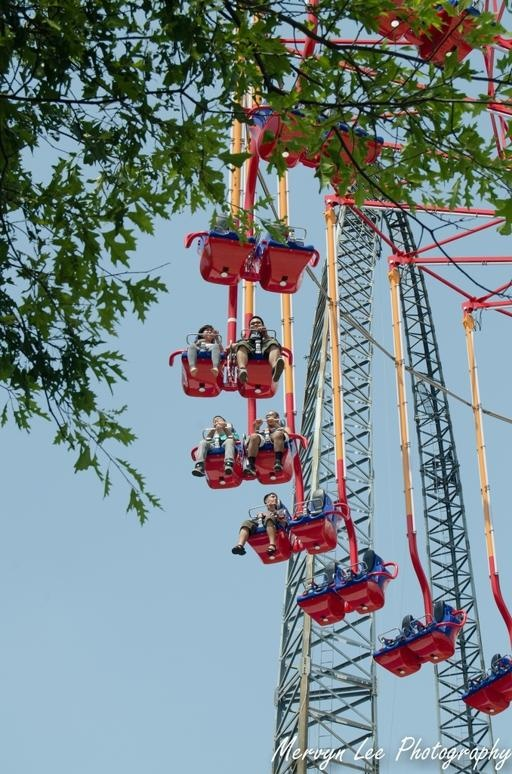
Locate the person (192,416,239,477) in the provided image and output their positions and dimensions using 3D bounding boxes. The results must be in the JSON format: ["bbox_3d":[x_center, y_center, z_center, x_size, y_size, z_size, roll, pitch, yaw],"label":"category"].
[{"bbox_3d":[-0.360,0.655,16.607,0.274,0.793,0.473,-4,-53,7],"label":"person"}]

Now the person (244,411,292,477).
[{"bbox_3d":[0.142,0.548,17.474,0.388,0.911,0.518,-1,-35,4],"label":"person"}]

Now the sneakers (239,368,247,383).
[{"bbox_3d":[-0.108,-0.094,16.591,0.056,0.057,0.138,-4,-58,-9],"label":"sneakers"}]

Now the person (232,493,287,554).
[{"bbox_3d":[0.068,1.467,18.061,0.507,0.738,0.321,4,-39,5],"label":"person"}]
